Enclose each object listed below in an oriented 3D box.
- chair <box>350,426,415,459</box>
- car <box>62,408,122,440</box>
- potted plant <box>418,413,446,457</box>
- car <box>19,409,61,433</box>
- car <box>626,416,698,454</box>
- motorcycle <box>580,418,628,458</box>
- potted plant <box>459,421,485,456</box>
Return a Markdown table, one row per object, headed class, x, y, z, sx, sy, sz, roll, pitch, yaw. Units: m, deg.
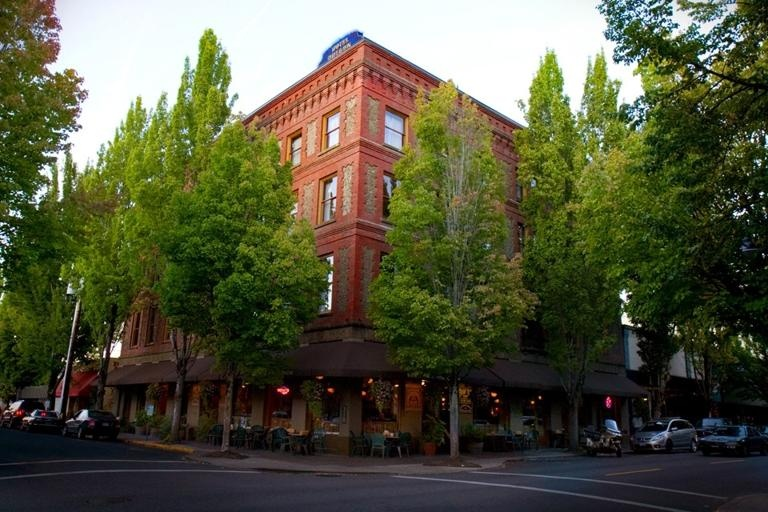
| class | x | y | z | sx | sy | sz | roll | pitch | yaw |
| --- | --- | --- | --- | --- | --- | --- | --- | --- | --- |
| chair | -0.175 | 9.911 | 31.778 | 3.163 | 1.288 | 1.708 | 1 | -19 | -6 |
| car | -19.026 | 10.998 | 39.268 | 3.779 | 1.929 | 1.992 | -16 | -24 | 36 |
| potted plant | 2.765 | 10.026 | 33.792 | 1.754 | 2.324 | 1.883 | 10 | -21 | -22 |
| car | -25.142 | 12.097 | 44.543 | 1.969 | 1.690 | 3.769 | 16 | -26 | -41 |
| car | 18.236 | 11.720 | 39.572 | 4.750 | 2.141 | 1.703 | 11 | -23 | -32 |
| motorcycle | 13.277 | 11.035 | 36.458 | 1.526 | 1.876 | 3.466 | 14 | -22 | -12 |
| potted plant | 4.832 | 10.553 | 34.719 | 1.805 | 1.840 | 1.459 | 10 | -22 | -28 |
